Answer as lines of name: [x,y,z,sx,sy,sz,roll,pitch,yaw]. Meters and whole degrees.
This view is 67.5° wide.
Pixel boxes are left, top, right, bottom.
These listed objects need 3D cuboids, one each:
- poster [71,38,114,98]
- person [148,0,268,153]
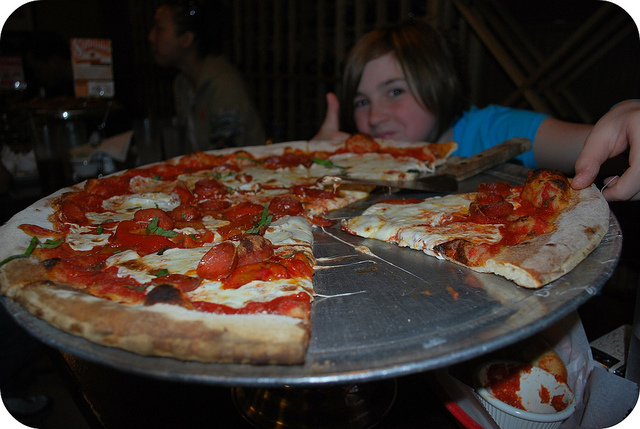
poster: [-1.654,-1.064,3.505,0.281,0.406,0.161,-2,38,-7]
person: [-0.936,-1.078,3.921,0.771,1.236,0.489,13,38,12]
